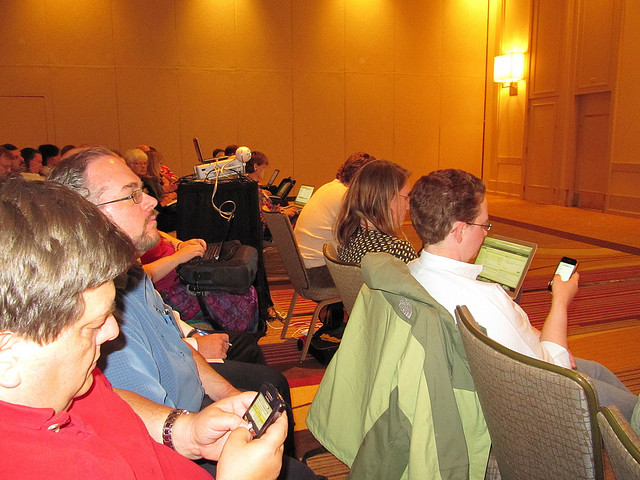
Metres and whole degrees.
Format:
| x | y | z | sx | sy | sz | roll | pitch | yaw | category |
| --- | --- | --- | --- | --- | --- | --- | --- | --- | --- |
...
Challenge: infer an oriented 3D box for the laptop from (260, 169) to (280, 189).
| x | y | z | sx | sy | sz | roll | pitch | yaw | category |
| --- | --- | --- | --- | --- | --- | --- | --- | --- | --- |
| -0.713 | -0.886 | 7.224 | 0.346 | 0.295 | 0.381 | -6 | 17 | -9 | laptop |

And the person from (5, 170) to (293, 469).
| x | y | z | sx | sy | sz | roll | pitch | yaw | category |
| --- | --- | --- | --- | --- | --- | --- | --- | --- | --- |
| -0.553 | 0.231 | 1.740 | 0.562 | 1.098 | 0.581 | 2 | 16 | 13 | person |

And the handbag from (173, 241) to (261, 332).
| x | y | z | sx | sy | sz | roll | pitch | yaw | category |
| --- | --- | --- | --- | --- | --- | --- | --- | --- | --- |
| -0.578 | 0.274 | 2.986 | 0.381 | 0.547 | 0.442 | -2 | 18 | 3 | handbag |

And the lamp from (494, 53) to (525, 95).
| x | y | z | sx | sy | sz | roll | pitch | yaw | category |
| --- | --- | --- | --- | --- | --- | --- | --- | --- | --- |
| 3.824 | -3.382 | 10.016 | 0.365 | 0.732 | 0.525 | -2 | 9 | -18 | lamp |

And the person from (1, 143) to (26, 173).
| x | y | z | sx | sy | sz | roll | pitch | yaw | category |
| --- | --- | --- | --- | --- | --- | --- | --- | --- | --- |
| -3.714 | -1.019 | 6.015 | 0.182 | 0.295 | 1.060 | -6 | 19 | -31 | person |

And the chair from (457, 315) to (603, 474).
| x | y | z | sx | sy | sz | roll | pitch | yaw | category |
| --- | --- | --- | --- | --- | --- | --- | --- | --- | --- |
| 0.555 | 0.433 | 1.345 | 0.241 | 0.462 | 0.248 | -23 | 36 | -5 | chair |

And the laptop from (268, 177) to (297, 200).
| x | y | z | sx | sy | sz | roll | pitch | yaw | category |
| --- | --- | --- | --- | --- | --- | --- | --- | --- | --- |
| -0.463 | -0.768 | 6.337 | 0.260 | 0.375 | 0.481 | 10 | 3 | -19 | laptop |

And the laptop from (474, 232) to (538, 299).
| x | y | z | sx | sy | sz | roll | pitch | yaw | category |
| --- | --- | --- | --- | --- | --- | --- | --- | --- | --- |
| 0.759 | 0.086 | 2.017 | 0.214 | 0.230 | 0.284 | 0 | 17 | -29 | laptop |

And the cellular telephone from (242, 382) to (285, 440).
| x | y | z | sx | sy | sz | roll | pitch | yaw | category |
| --- | --- | --- | --- | --- | --- | --- | --- | --- | --- |
| -0.124 | 0.382 | 1.088 | 0.071 | 0.120 | 0.142 | -2 | 16 | -18 | cellular telephone |

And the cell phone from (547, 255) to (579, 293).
| x | y | z | sx | sy | sz | roll | pitch | yaw | category |
| --- | --- | --- | --- | --- | --- | --- | --- | --- | --- |
| 0.941 | 0.132 | 1.890 | 0.064 | 0.014 | 0.138 | 14 | 54 | 33 | cell phone |
